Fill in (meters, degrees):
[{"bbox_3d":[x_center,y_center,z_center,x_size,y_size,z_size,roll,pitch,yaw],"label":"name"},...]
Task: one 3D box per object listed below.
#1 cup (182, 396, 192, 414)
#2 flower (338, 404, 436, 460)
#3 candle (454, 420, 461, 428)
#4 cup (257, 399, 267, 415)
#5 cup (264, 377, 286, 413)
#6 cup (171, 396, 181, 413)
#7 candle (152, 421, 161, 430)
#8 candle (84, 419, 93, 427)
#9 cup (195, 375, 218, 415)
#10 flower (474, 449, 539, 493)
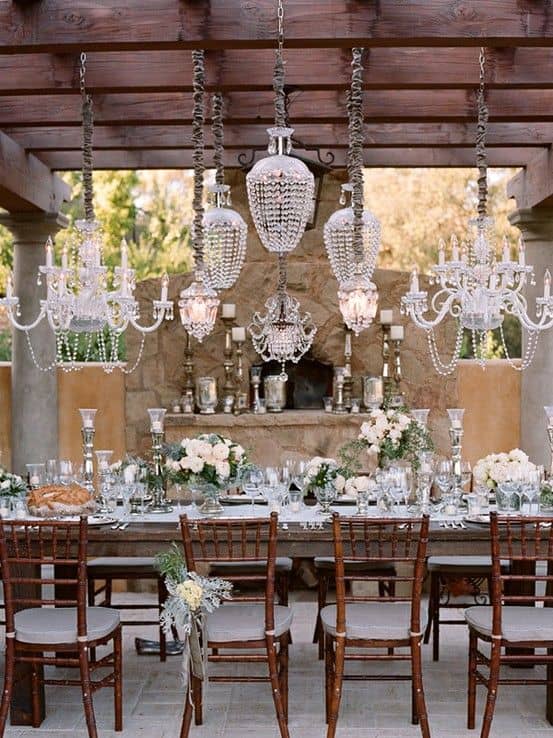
[{"bbox_3d":[-0.587,0.227,7.886,0.077,0.111,0.037,0,0,30],"label":"cup"},{"bbox_3d":[0.502,0.318,5.747,0.294,0.202,0.314,10,13,36],"label":"flower"},{"bbox_3d":[0.889,0.270,6.011,0.035,0.034,0.033,2,14,8],"label":"candle"},{"bbox_3d":[-0.089,0.244,7.934,0.073,0.114,0.077,1,2,0],"label":"cup"},{"bbox_3d":[-0.014,0.165,7.980,0.137,0.240,0.326,0,0,-2],"label":"cup"},{"bbox_3d":[-0.650,0.236,7.954,0.086,0.098,0.084,2,5,0],"label":"cup"},{"bbox_3d":[-0.564,0.264,5.778,0.040,0.044,0.039,1,9,-2],"label":"candle"},{"bbox_3d":[-0.923,0.262,5.994,0.039,0.047,0.039,3,7,13],"label":"candle"},{"bbox_3d":[-0.457,0.169,7.955,0.125,0.235,0.216,0,0,-5],"label":"cup"},{"bbox_3d":[1.050,0.462,5.599,0.227,0.196,0.203,-4,-3,12],"label":"flower"}]
